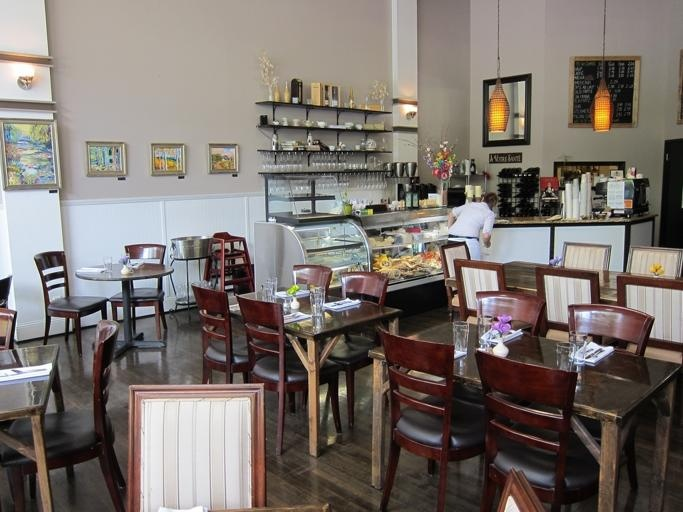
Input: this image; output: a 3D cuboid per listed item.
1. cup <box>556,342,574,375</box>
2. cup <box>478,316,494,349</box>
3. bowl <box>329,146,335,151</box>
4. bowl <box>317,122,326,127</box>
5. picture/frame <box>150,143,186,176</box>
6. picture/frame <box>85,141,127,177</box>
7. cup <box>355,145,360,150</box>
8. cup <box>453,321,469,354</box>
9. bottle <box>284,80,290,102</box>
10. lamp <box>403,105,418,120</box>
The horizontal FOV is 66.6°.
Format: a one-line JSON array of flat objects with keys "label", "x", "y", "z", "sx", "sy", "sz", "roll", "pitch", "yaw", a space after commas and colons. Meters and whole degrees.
[{"label": "cup", "x": 1.308, "y": 0.590, "z": 3.056, "sx": 0.096, "sy": 0.163, "sz": 0.151, "roll": -1, "pitch": 9, "yaw": 22}, {"label": "cup", "x": 0.939, "y": 0.503, "z": 3.403, "sx": 0.100, "sy": 0.202, "sz": 0.204, "roll": -3, "pitch": 9, "yaw": 15}, {"label": "bowl", "x": -0.171, "y": -1.838, "z": 8.832, "sx": 0.086, "sy": 0.061, "sz": 0.097, "roll": 0, "pitch": -1, "yaw": 15}, {"label": "bowl", "x": -0.348, "y": -2.226, "z": 8.803, "sx": 0.094, "sy": 0.088, "sz": 0.119, "roll": 3, "pitch": 3, "yaw": 38}, {"label": "picture/frame", "x": -2.470, "y": -1.373, "z": 7.343, "sx": 0.478, "sy": 0.493, "sz": 0.035, "roll": -4, "pitch": 8, "yaw": -42}, {"label": "picture/frame", "x": -3.121, "y": -1.287, "z": 6.847, "sx": 0.482, "sy": 0.460, "sz": 0.036, "roll": -5, "pitch": 7, "yaw": -43}, {"label": "cup", "x": 0.284, "y": -1.969, "z": 9.396, "sx": 0.091, "sy": 0.071, "sz": 0.092, "roll": 0, "pitch": 4, "yaw": 0}, {"label": "cup", "x": 0.781, "y": 0.525, "z": 3.414, "sx": 0.100, "sy": 0.191, "sz": 0.271, "roll": -3, "pitch": 9, "yaw": 12}, {"label": "bottle", "x": -0.883, "y": -2.656, "z": 8.401, "sx": 0.108, "sy": 0.359, "sz": 0.241, "roll": -5, "pitch": 9, "yaw": -3}, {"label": "lamp", "x": 1.309, "y": -2.786, "z": 10.059, "sx": 0.304, "sy": 0.302, "sz": 0.103, "roll": -5, "pitch": 13, "yaw": -29}]
